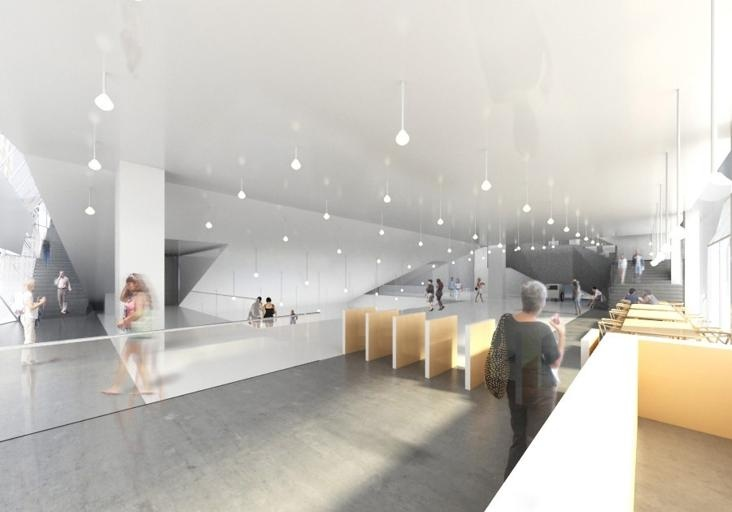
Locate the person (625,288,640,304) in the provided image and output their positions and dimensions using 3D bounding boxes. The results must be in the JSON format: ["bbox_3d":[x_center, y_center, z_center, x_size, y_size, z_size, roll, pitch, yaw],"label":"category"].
[{"bbox_3d":[7.778,1.156,13.532,0.279,0.783,0.236,10,23,43],"label":"person"}]

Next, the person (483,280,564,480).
[{"bbox_3d":[1.881,1.504,5.573,0.798,2.517,0.772,6,15,32],"label":"person"}]
